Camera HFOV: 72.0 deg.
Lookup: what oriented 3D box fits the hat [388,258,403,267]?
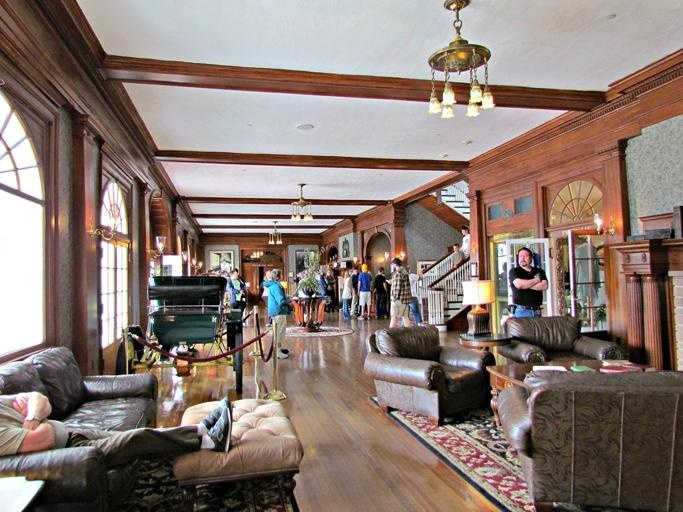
[{"bbox_3d":[1.109,0.124,9.495,0.186,0.176,0.247,9,16,36],"label":"hat"}]

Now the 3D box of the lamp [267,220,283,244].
[{"bbox_3d":[-2.861,-1.062,20.128,0.868,1.125,0.820,0,-8,-2],"label":"lamp"}]

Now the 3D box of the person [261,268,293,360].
[{"bbox_3d":[-1.011,0.943,7.761,0.549,1.352,0.511,0,-3,-2],"label":"person"}]

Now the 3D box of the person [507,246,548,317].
[{"bbox_3d":[2.570,0.366,6.451,0.480,0.955,0.660,-2,2,17],"label":"person"}]

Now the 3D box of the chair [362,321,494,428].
[{"bbox_3d":[1.064,1.355,5.638,1.251,0.832,1.149,-3,1,-40],"label":"chair"}]

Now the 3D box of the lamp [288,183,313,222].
[{"bbox_3d":[-1.126,-1.580,13.469,0.673,0.956,0.633,-6,10,-31],"label":"lamp"}]

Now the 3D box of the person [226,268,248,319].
[{"bbox_3d":[-2.793,0.902,12.559,0.472,1.159,1.273,-3,2,-12],"label":"person"}]

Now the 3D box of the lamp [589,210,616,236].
[{"bbox_3d":[3.856,-0.475,6.901,0.191,0.349,0.356,-2,2,8],"label":"lamp"}]

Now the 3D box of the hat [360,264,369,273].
[{"bbox_3d":[0.770,0.407,15.521,0.182,0.229,0.233,-1,-39,3],"label":"hat"}]
